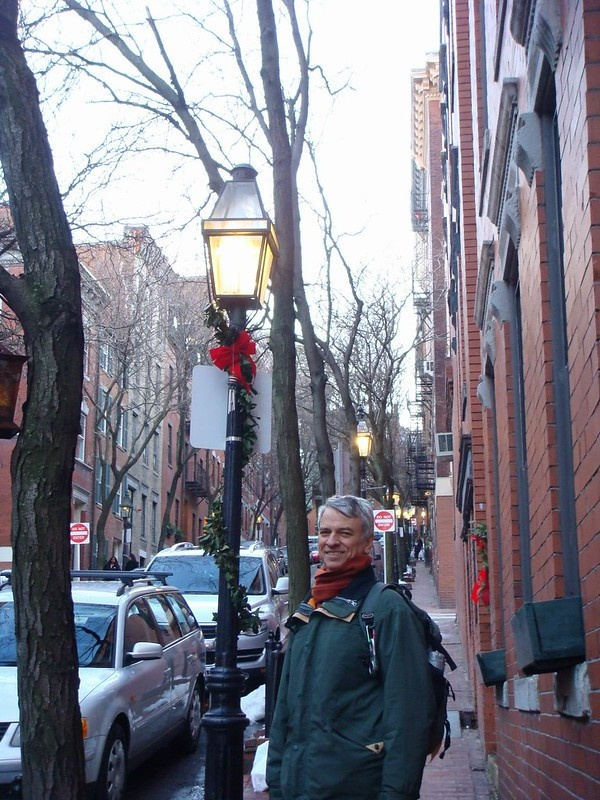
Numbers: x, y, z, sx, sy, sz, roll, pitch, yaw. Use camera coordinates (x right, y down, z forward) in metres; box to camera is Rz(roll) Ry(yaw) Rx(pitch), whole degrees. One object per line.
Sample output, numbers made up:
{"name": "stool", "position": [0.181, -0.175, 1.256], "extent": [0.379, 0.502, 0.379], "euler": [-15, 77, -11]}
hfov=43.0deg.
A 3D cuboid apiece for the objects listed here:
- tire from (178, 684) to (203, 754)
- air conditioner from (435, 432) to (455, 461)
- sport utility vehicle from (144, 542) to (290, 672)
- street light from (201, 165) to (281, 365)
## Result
{"name": "tire", "position": [-1.321, 3.792, 9.035], "extent": [0.181, 0.814, 0.702], "euler": [-5, -18, 9]}
{"name": "air conditioner", "position": [6.025, 1.927, 31.911], "extent": [0.508, 1.290, 1.173], "euler": [-2, 16, 4]}
{"name": "sport utility vehicle", "position": [-1.308, 3.443, 13.505], "extent": [1.899, 2.180, 3.711], "euler": [-3, -27, 5]}
{"name": "street light", "position": [-0.404, -1.045, 5.040], "extent": [0.481, 1.294, 0.401], "euler": [-2, -13, -2]}
